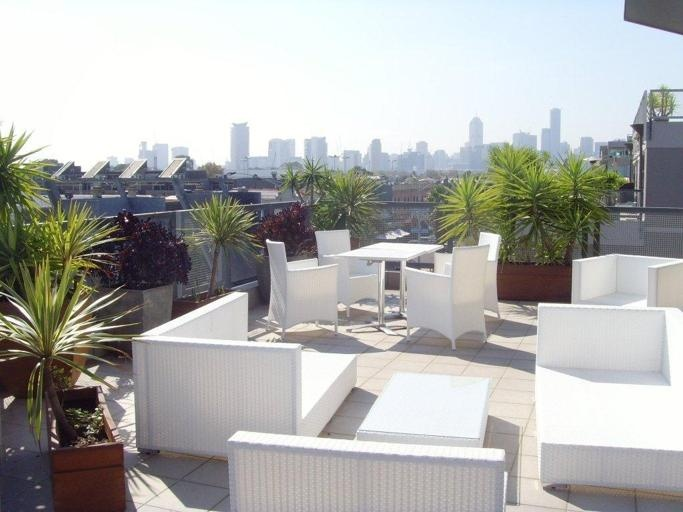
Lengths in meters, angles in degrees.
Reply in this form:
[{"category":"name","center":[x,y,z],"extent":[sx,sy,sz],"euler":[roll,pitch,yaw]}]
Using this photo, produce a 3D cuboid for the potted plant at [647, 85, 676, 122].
[{"category":"potted plant","center":[9.666,-4.564,17.848],"extent":[0.934,0.763,0.712],"euler":[2,9,17]}]
